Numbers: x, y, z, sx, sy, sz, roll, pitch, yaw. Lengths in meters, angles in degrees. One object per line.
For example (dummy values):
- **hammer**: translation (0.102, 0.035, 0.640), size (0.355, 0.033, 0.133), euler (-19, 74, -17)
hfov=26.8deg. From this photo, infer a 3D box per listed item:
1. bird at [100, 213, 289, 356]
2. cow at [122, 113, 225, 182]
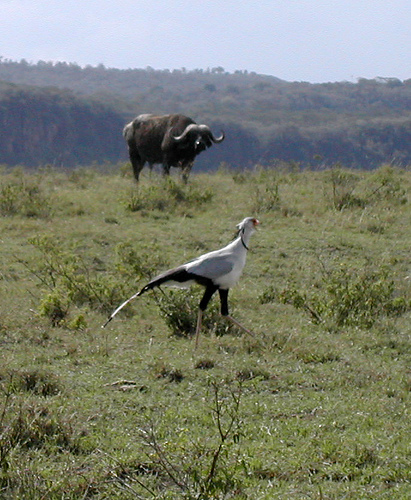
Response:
- **bird**: translation (-0.125, 0.348, 8.651), size (1.814, 1.147, 0.423), euler (-8, -6, 6)
- **cow**: translation (-0.805, -1.992, 17.682), size (0.820, 1.493, 3.136), euler (-2, 7, -35)
